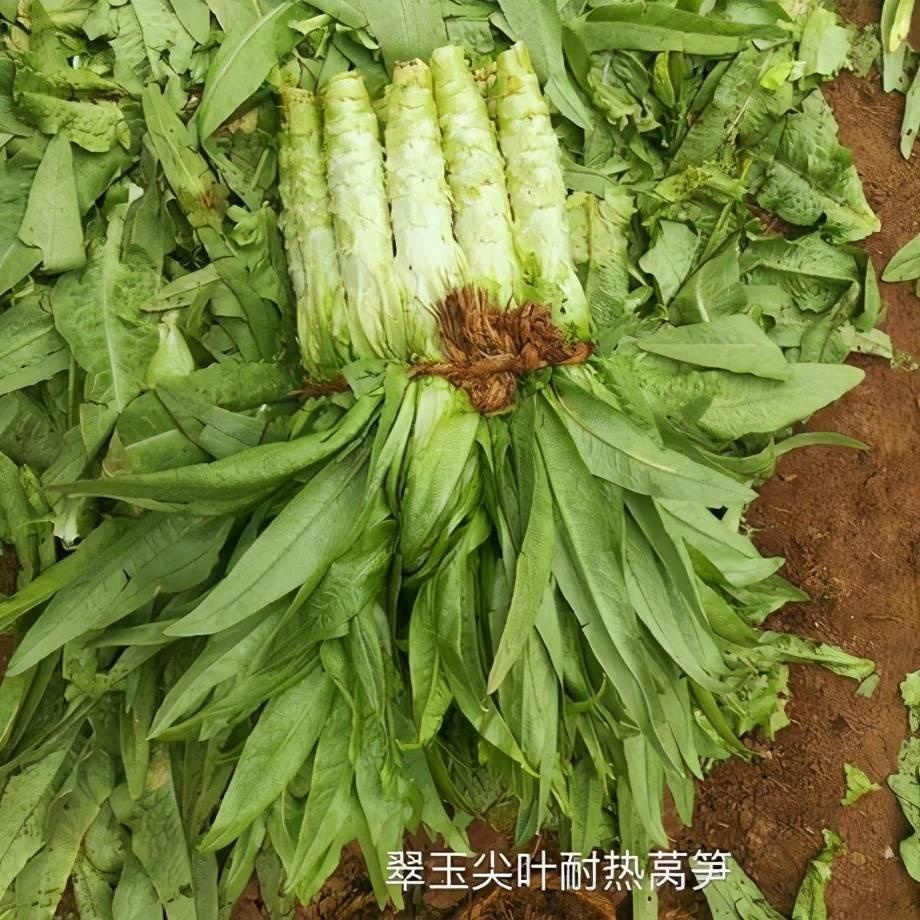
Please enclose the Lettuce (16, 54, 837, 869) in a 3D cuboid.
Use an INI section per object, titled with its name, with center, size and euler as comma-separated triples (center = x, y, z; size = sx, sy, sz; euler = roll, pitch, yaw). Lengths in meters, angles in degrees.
[Lettuce]
center = -0.114, -0.039, 1.551
size = 1.071, 1.004, 0.349
euler = -9, 0, -8
